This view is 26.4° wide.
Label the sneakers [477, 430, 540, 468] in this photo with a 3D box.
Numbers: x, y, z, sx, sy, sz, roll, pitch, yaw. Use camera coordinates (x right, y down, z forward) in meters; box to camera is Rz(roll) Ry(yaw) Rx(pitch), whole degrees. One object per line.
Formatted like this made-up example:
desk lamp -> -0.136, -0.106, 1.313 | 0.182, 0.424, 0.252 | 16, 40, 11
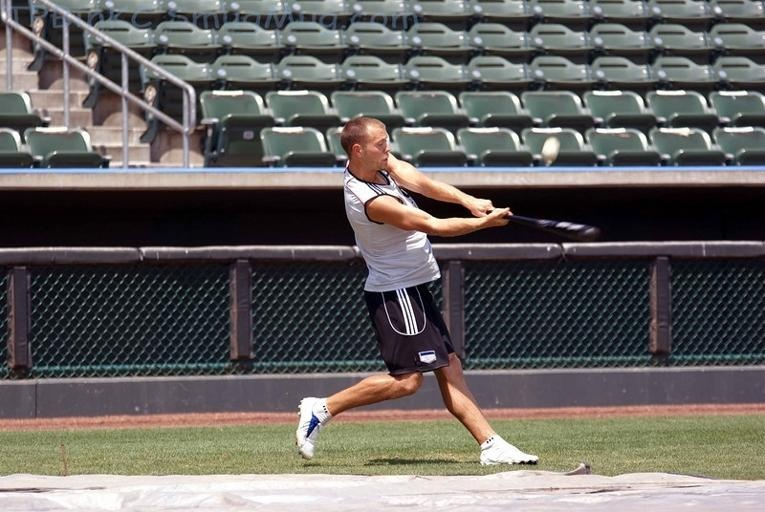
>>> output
sneakers -> 1.103, 1.776, 14.688 | 0.607, 0.254, 0.217 | -1, 0, 5
